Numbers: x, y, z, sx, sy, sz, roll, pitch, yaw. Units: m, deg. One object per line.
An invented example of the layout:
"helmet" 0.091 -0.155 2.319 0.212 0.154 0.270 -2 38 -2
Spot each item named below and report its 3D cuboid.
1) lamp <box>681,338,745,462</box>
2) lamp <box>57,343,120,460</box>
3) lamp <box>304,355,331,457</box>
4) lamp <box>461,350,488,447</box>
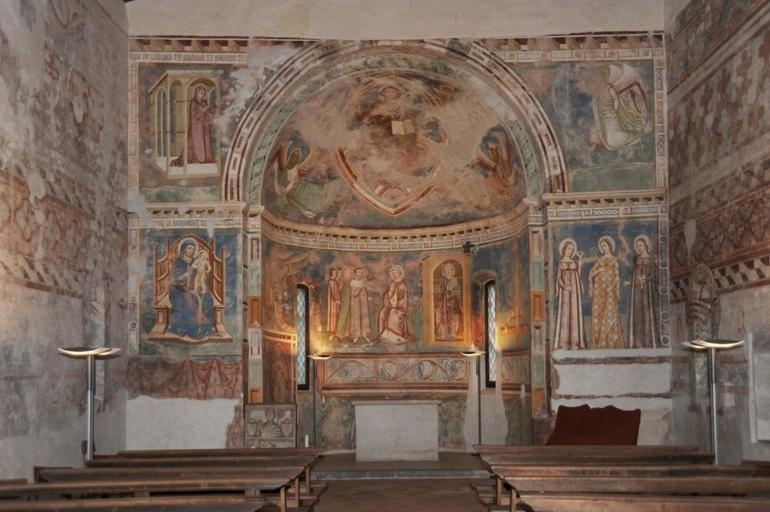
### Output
"lamp" 5.889 2.694 18.751 1.150 2.224 1.250 1 -3 -6
"lamp" -5.533 2.679 19.449 1.061 2.104 1.988 2 -11 -14
"lamp" -1.596 3.349 24.720 0.491 2.199 0.719 0 -10 -6
"lamp" 2.111 3.327 24.674 0.752 2.248 0.738 -1 -15 9
